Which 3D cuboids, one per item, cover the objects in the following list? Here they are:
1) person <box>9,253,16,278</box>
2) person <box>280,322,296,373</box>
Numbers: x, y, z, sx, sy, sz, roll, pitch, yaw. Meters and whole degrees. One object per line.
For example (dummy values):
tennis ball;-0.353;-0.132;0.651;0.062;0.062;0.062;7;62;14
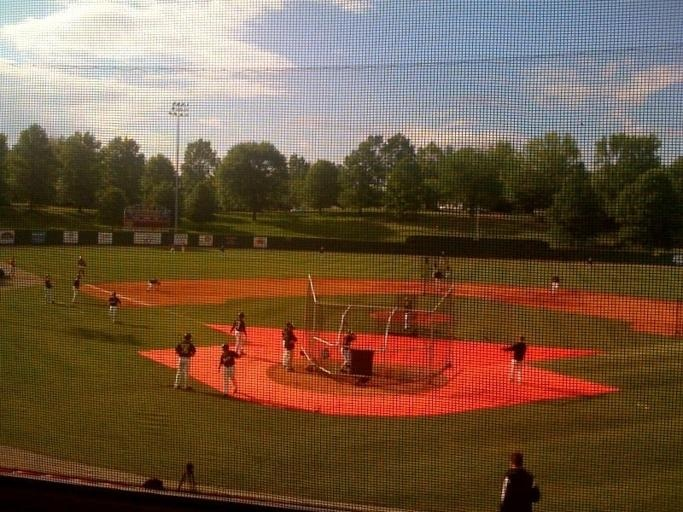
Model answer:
person;-12.108;0.344;35.338;0.335;1.166;0.386;0;30;-21
person;-1.460;2.471;27.091;0.415;1.245;1.182;0;8;-5
